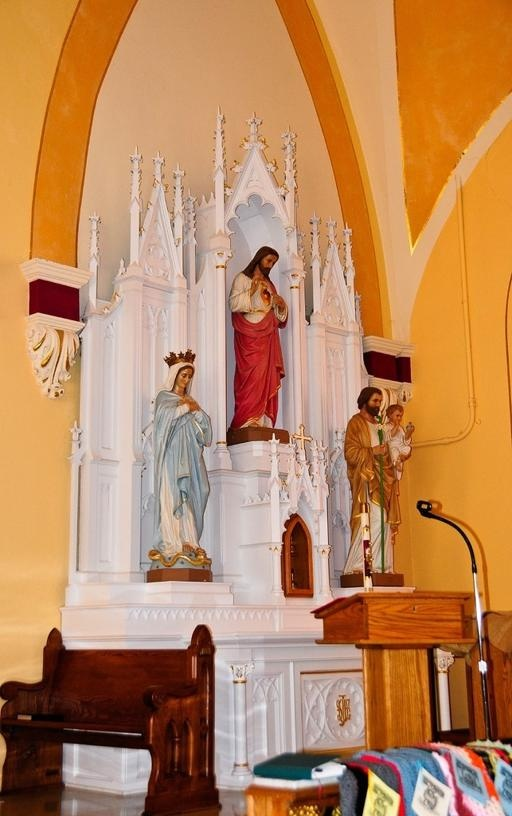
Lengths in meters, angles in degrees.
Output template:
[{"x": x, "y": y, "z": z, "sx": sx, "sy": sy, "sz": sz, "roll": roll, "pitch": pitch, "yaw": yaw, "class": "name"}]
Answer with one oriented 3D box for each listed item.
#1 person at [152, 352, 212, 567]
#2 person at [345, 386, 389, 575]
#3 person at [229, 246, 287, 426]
[{"x": -0.513, "y": 0.324, "z": 5.757, "sx": 0.381, "sy": 1.450, "sz": 0.259, "roll": 0, "pitch": -11, "yaw": -5, "class": "person"}, {"x": 0.874, "y": 0.558, "z": 6.841, "sx": 0.415, "sy": 1.495, "sz": 0.635, "roll": -3, "pitch": -11, "yaw": 9, "class": "person"}, {"x": 0.014, "y": -0.530, "z": 6.799, "sx": 0.467, "sy": 1.472, "sz": 0.352, "roll": 1, "pitch": -11, "yaw": -8, "class": "person"}]
